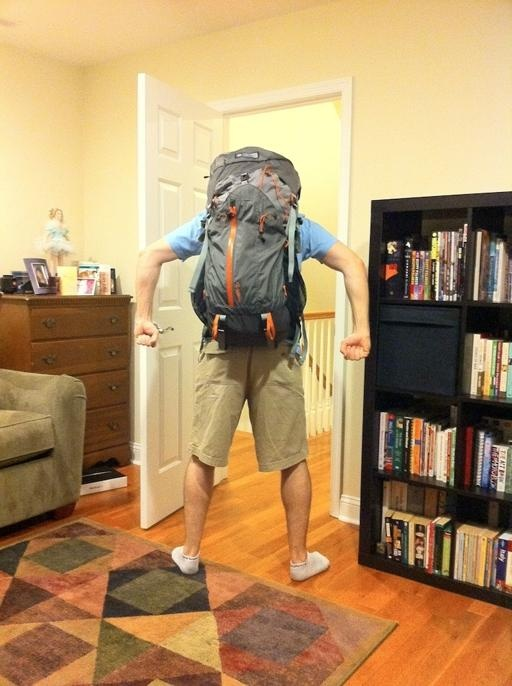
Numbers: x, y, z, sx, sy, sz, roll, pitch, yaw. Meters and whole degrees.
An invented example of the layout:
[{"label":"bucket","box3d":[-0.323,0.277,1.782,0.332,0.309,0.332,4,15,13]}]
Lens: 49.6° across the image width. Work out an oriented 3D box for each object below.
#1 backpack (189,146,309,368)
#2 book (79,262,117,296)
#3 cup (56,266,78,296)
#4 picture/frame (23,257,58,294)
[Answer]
[{"label":"backpack","box3d":[-0.020,-0.296,1.761,0.375,0.707,0.346,2,2,5]},{"label":"book","box3d":[-0.978,-0.385,3.393,0.082,0.201,0.226,0,7,29]},{"label":"cup","box3d":[-1.110,-0.370,3.286,0.156,0.169,0.113,1,2,-42]},{"label":"picture/frame","box3d":[-1.235,-0.379,3.169,0.042,0.257,0.260,-25,-6,17]}]
